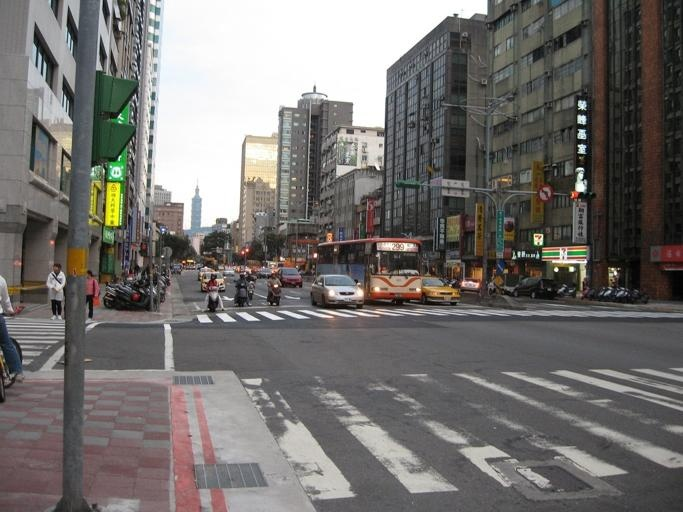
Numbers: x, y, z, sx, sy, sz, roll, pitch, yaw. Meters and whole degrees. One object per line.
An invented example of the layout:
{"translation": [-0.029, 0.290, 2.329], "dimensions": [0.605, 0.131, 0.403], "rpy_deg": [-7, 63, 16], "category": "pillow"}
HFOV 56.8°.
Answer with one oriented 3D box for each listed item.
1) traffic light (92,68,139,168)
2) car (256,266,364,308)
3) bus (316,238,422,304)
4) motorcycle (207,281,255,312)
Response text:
{"translation": [-2.339, -1.425, 6.511], "dimensions": [0.420, 1.066, 0.539], "rpy_deg": [0, -1, -18], "category": "traffic light"}
{"translation": [-0.195, 1.744, 31.384], "dimensions": [1.919, 1.631, 3.298], "rpy_deg": [0, -2, -16], "category": "car"}
{"translation": [1.740, 0.972, 39.133], "dimensions": [2.953, 3.594, 11.168], "rpy_deg": [1, -4, -17], "category": "bus"}
{"translation": [-5.266, 1.905, 29.860], "dimensions": [2.091, 1.380, 1.053], "rpy_deg": [-2, 6, 10], "category": "motorcycle"}
